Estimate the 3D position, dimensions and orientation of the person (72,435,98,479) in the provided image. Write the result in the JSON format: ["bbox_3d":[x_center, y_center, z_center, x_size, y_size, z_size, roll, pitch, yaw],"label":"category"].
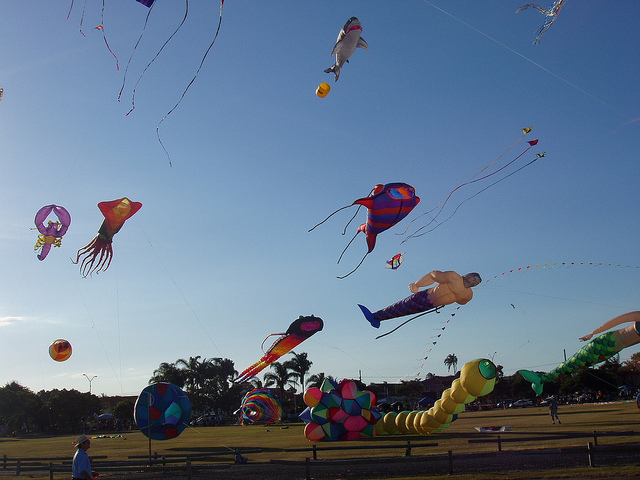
[{"bbox_3d":[-5.824,5.345,12.469,0.506,0.981,1.561,6,-23,-24],"label":"person"}]

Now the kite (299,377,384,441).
[{"bbox_3d":[1.031,8.873,26.245,3.641,2.906,1.267,-2,-20,-4],"label":"kite"}]

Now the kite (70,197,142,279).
[{"bbox_3d":[-7.917,-0.547,19.042,1.463,2.740,0.808,37,0,-28],"label":"kite"}]

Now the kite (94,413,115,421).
[{"bbox_3d":[-30.724,25.320,72.112,1.756,0.786,1.845,-2,-11,26],"label":"kite"}]

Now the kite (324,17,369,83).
[{"bbox_3d":[0.770,-5.993,15.930,1.217,0.641,2.466,-12,-16,-22],"label":"kite"}]

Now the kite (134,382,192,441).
[{"bbox_3d":[-8.775,9.446,28.205,2.913,2.967,1.504,15,-27,-41],"label":"kite"}]
